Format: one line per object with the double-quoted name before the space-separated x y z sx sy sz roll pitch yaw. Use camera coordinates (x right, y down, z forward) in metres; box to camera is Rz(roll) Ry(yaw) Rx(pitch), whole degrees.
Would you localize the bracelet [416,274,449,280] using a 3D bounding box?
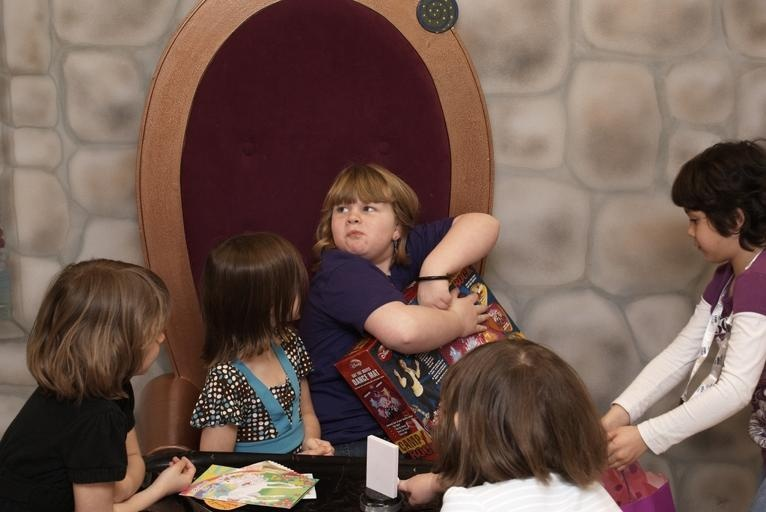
"bracelet" 0.151 0.067 1.969 0.087 0.017 0.031 -4 -1 10
